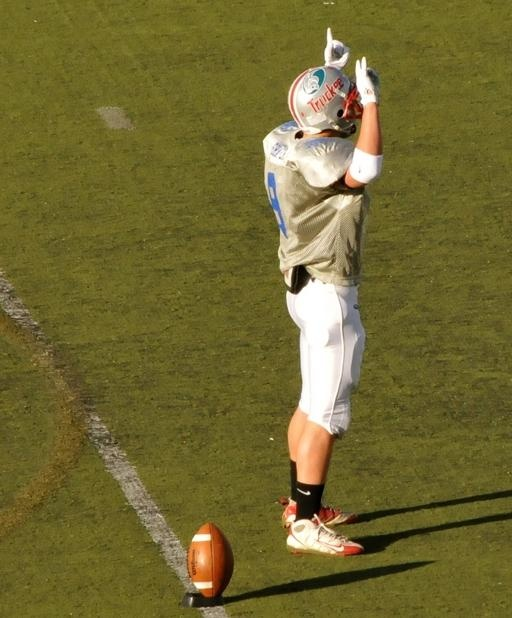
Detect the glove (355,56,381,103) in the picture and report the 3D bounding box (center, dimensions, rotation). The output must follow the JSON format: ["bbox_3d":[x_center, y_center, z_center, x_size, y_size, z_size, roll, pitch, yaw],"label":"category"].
[{"bbox_3d":[0.604,-1.247,7.583,0.165,0.100,0.244,11,66,-7],"label":"glove"}]

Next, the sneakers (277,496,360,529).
[{"bbox_3d":[0.351,1.207,8.174,0.513,0.165,0.200,0,107,-6],"label":"sneakers"}]

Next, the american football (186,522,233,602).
[{"bbox_3d":[-0.311,1.379,7.531,0.252,0.274,0.392,-23,69,42],"label":"american football"}]

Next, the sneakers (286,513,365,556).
[{"bbox_3d":[0.389,1.287,7.938,0.482,0.182,0.214,2,100,7],"label":"sneakers"}]
